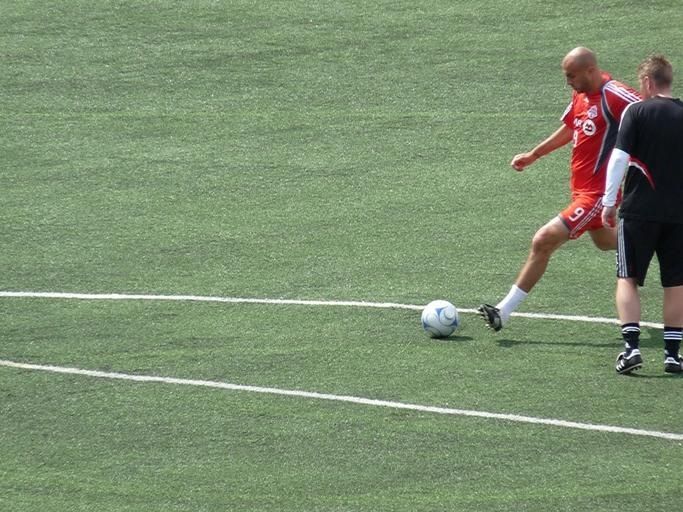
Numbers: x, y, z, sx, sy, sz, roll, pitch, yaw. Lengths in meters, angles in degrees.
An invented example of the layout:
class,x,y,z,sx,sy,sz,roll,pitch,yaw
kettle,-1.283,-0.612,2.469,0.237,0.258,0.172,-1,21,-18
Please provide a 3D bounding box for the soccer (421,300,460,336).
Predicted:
class,x,y,z,sx,sy,sz,roll,pitch,yaw
soccer,0.944,0.649,14.575,0.418,0.332,0.369,4,11,-1
